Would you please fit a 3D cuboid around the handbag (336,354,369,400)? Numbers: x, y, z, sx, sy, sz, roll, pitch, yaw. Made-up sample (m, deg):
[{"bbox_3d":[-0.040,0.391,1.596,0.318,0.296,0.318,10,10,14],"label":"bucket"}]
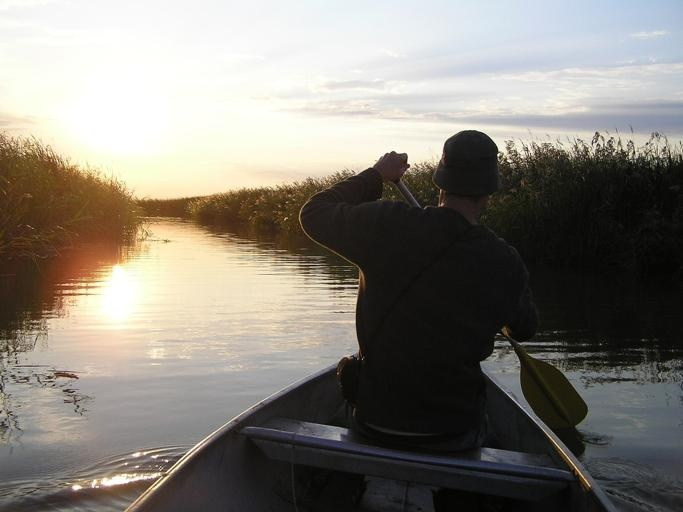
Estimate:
[{"bbox_3d":[0.070,0.754,3.439,0.175,0.318,0.217,-9,-6,1],"label":"handbag"}]
